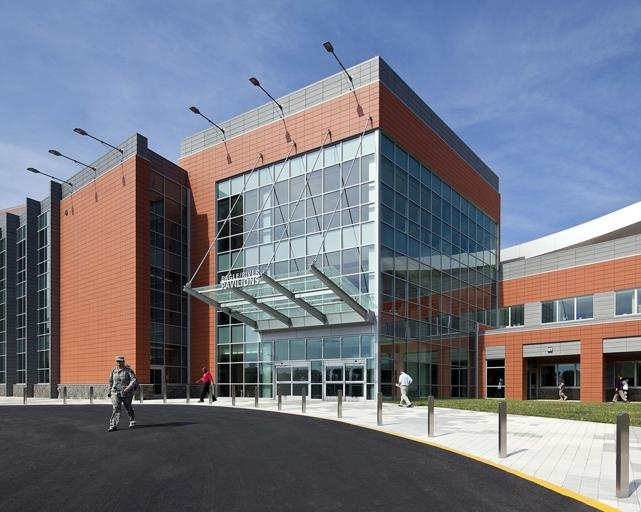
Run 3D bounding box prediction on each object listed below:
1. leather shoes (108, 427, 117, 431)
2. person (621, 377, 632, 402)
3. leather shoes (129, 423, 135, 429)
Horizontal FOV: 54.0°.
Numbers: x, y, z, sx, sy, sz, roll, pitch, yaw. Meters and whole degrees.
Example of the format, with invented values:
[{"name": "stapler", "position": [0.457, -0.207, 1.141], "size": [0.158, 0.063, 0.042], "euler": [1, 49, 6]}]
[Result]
[{"name": "leather shoes", "position": [-6.119, 5.081, 18.477], "size": [0.210, 0.132, 0.124], "euler": [19, -27, -38]}, {"name": "person", "position": [18.523, 8.040, 38.036], "size": [0.369, 1.543, 2.769], "euler": [-7, -17, 27]}, {"name": "leather shoes", "position": [-5.827, 5.223, 19.440], "size": [0.177, 0.175, 0.125], "euler": [2, -8, -22]}]
